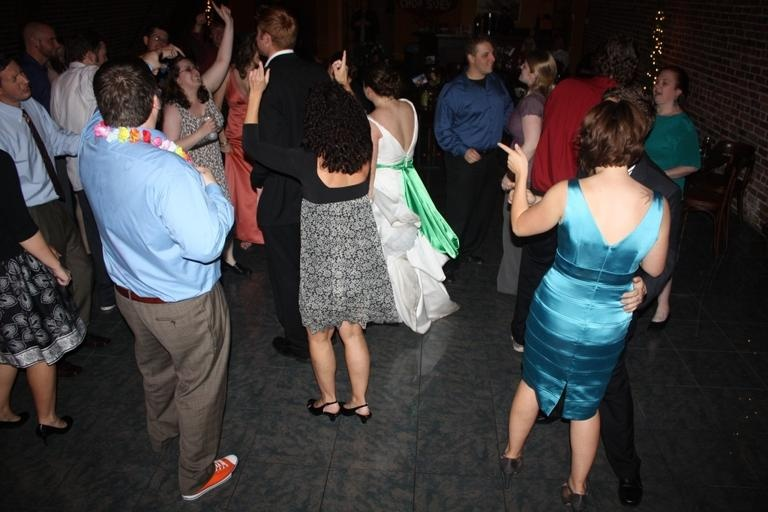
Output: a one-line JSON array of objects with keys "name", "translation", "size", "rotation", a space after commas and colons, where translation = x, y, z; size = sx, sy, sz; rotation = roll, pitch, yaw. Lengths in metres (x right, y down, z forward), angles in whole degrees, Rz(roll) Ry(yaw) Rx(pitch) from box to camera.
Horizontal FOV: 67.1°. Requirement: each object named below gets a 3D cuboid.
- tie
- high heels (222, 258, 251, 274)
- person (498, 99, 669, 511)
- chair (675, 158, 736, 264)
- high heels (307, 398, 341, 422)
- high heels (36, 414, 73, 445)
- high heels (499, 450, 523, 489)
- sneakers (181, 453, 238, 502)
[{"name": "tie", "translation": [-2.304, -0.660, 3.931], "size": [0.098, 0.710, 0.054], "rotation": [-24, 14, -28]}, {"name": "high heels", "translation": [-1.400, 0.118, 5.545], "size": [0.307, 0.128, 0.116], "rotation": [8, 29, -6]}, {"name": "person", "translation": [1.043, 0.315, 3.275], "size": [0.798, 2.167, 0.725], "rotation": [17, 33, 25]}, {"name": "chair", "translation": [3.091, -0.435, 5.556], "size": [0.590, 0.931, 0.562], "rotation": [10, 41, 22]}, {"name": "high heels", "translation": [-0.407, 1.025, 3.970], "size": [0.218, 0.095, 0.116], "rotation": [26, 24, 20]}, {"name": "high heels", "translation": [-2.163, 1.132, 3.791], "size": [0.115, 0.114, 0.224], "rotation": [21, 31, 15]}, {"name": "high heels", "translation": [0.786, 1.311, 3.541], "size": [0.080, 0.107, 0.249], "rotation": [-3, 40, 8]}, {"name": "sneakers", "translation": [-1.085, 1.341, 3.571], "size": [0.138, 0.161, 0.374], "rotation": [32, 49, 30]}]
